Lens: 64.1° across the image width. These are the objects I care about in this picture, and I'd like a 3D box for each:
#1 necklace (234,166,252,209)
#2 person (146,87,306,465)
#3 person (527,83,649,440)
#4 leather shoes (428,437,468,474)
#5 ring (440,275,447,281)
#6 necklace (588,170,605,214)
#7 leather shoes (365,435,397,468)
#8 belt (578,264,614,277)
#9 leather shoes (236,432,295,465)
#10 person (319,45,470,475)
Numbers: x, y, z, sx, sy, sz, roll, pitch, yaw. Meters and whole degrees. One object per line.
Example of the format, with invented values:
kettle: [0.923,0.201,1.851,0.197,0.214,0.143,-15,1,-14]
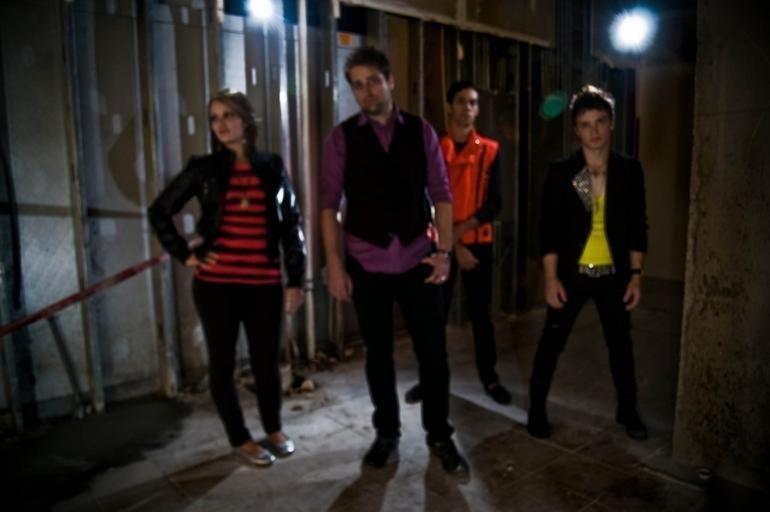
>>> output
necklace: [-0.954,-0.468,4.179,0.075,0.271,0.090,-6,10,-13]
person: [-1.011,0.155,4.225,0.946,2.533,0.487,-7,10,-19]
person: [1.435,0.064,4.399,0.842,2.504,0.460,-1,10,13]
leather shoes: [0.404,1.395,4.310,0.255,0.225,0.517,-7,-13,-7]
ring: [0.384,0.142,4.075,0.028,0.041,0.011,0,0,-6]
necklace: [1.482,-0.458,4.318,0.126,0.301,0.027,0,-3,-20]
leather shoes: [-0.029,1.344,4.218,0.260,0.136,0.109,-29,-25,-24]
belt: [1.470,0.098,4.282,0.128,0.054,0.117,-8,13,-29]
leather shoes: [-0.826,1.361,4.308,0.282,0.089,0.210,-2,3,38]
person: [0.050,0.042,4.140,0.894,2.807,0.471,-2,10,6]
